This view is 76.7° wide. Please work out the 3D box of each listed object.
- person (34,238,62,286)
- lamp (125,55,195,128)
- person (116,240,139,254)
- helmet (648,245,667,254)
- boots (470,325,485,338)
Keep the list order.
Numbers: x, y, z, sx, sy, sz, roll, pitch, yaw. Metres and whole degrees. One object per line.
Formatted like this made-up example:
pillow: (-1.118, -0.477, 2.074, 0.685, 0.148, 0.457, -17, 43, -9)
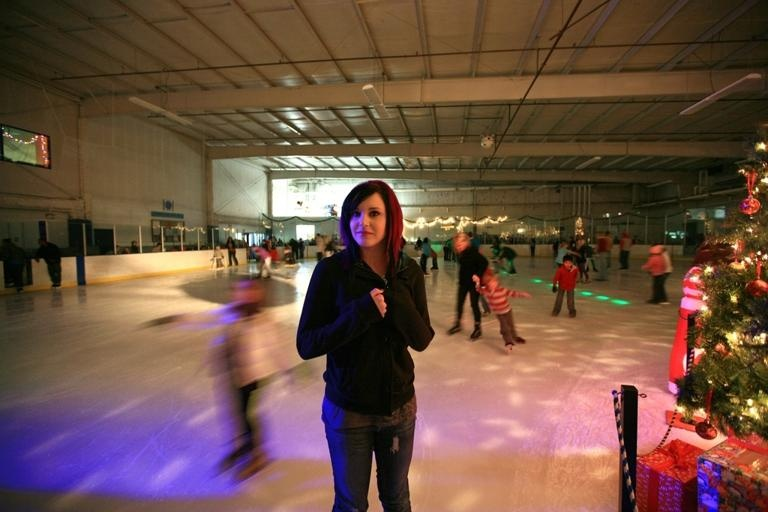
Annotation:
person: (-9.176, 0.184, 13.224, 0.558, 1.357, 0.306, -2, 3, -36)
lamp: (-6.770, -4.392, 14.812, 1.330, 0.828, 4.301, -1, 3, -19)
person: (-8.320, -0.316, 15.868, 0.481, 0.441, 0.889, -1, 3, -8)
helmet: (7.018, -0.187, 12.442, 0.379, 0.190, 0.498, -1, -7, 2)
boots: (1.622, 1.316, 8.572, 0.317, 0.239, 0.204, -1, 3, -20)
